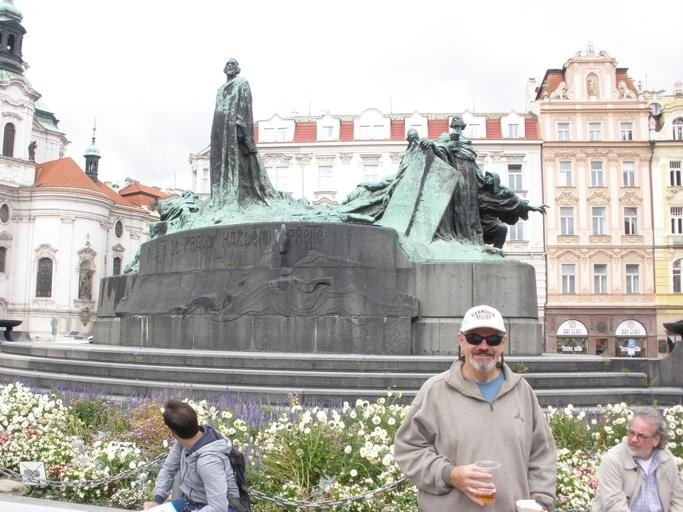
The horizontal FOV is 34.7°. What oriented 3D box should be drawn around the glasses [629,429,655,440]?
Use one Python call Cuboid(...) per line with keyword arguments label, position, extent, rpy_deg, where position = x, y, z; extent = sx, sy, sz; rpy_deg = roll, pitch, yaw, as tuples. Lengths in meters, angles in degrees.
Cuboid(label="glasses", position=(5.718, 3.438, 20.849), extent=(0.234, 0.116, 0.326), rpy_deg=(-2, -7, 37))
